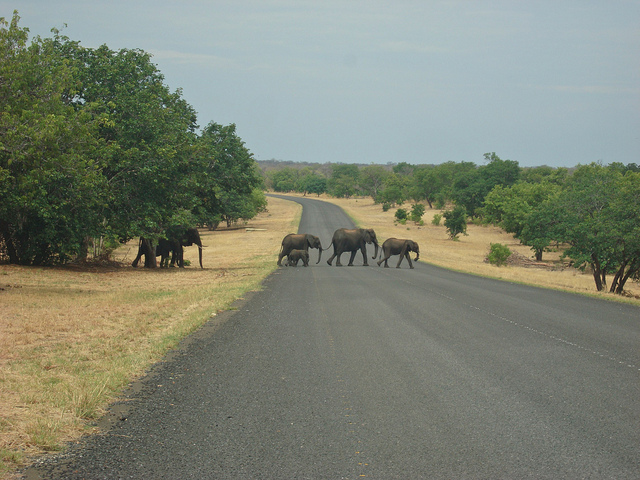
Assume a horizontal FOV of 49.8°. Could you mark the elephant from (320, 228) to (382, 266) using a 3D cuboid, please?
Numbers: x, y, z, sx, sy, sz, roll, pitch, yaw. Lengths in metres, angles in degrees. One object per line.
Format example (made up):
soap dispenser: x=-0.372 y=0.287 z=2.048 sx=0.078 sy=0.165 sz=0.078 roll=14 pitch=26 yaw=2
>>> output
elephant: x=2.120 y=0.446 z=43.753 sx=2.804 sy=2.443 sz=3.149 roll=2 pitch=4 yaw=9

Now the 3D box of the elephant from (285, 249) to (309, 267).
elephant: x=-1.312 y=1.066 z=42.486 sx=1.317 sy=1.021 sz=1.813 roll=1 pitch=4 yaw=0

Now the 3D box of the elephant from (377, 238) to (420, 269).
elephant: x=5.194 y=0.797 z=44.791 sx=2.043 sy=1.904 sz=4.926 roll=2 pitch=4 yaw=11
